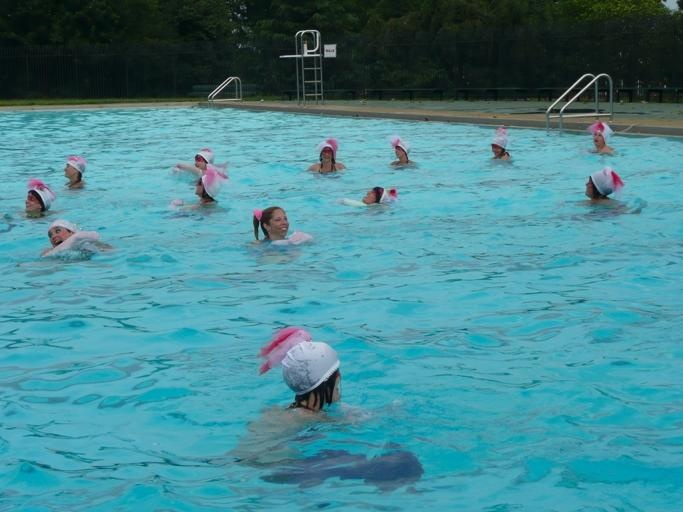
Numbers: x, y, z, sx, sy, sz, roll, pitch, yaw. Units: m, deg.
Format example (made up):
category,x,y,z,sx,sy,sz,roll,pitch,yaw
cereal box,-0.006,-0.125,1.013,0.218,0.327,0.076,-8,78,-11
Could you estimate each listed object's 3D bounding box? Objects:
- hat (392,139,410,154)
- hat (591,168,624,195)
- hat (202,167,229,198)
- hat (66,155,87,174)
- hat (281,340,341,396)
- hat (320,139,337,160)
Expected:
category,x,y,z,sx,sy,sz,roll,pitch,yaw
hat,1.045,-1.943,13.008,0.306,0.306,0.319,-2,9,4
hat,3.456,-0.987,9.548,0.416,0.246,0.484,-13,-21,28
hat,-1.793,-1.039,10.298,0.283,0.441,0.362,1,10,20
hat,-4.273,-1.463,11.819,0.279,0.275,0.477,-5,9,-17
hat,-0.204,0.743,4.708,0.265,0.373,0.204,4,13,35
hat,-0.220,-1.793,12.397,0.276,0.349,0.343,-4,9,-4
